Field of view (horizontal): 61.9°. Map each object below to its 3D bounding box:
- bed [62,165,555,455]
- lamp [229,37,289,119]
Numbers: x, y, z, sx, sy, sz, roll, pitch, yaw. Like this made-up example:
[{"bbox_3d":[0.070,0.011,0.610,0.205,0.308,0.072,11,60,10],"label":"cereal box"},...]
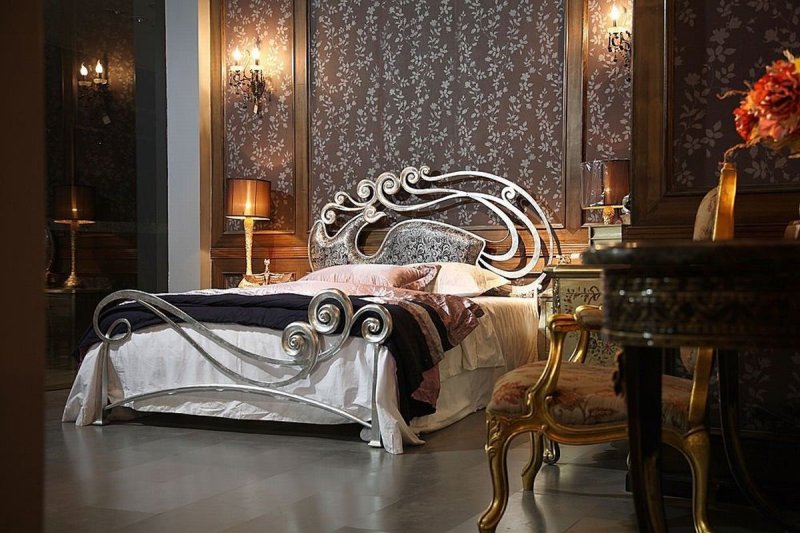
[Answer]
[{"bbox_3d":[-0.287,0.182,4.595,2.214,1.634,2.218,-3,-5,32],"label":"bed"},{"bbox_3d":[-1.499,-1.822,6.447,0.522,0.761,0.188,1,2,32],"label":"lamp"}]
